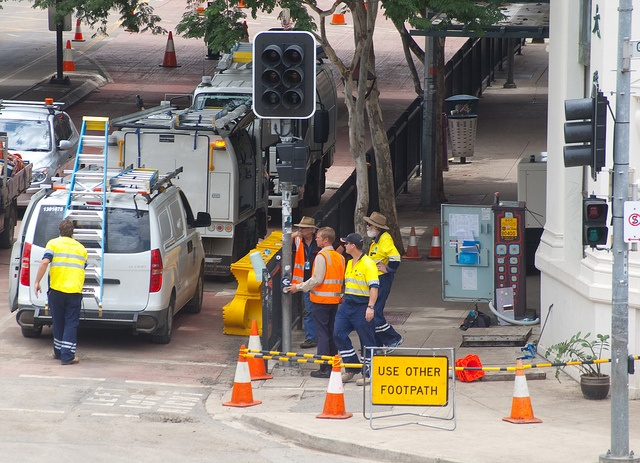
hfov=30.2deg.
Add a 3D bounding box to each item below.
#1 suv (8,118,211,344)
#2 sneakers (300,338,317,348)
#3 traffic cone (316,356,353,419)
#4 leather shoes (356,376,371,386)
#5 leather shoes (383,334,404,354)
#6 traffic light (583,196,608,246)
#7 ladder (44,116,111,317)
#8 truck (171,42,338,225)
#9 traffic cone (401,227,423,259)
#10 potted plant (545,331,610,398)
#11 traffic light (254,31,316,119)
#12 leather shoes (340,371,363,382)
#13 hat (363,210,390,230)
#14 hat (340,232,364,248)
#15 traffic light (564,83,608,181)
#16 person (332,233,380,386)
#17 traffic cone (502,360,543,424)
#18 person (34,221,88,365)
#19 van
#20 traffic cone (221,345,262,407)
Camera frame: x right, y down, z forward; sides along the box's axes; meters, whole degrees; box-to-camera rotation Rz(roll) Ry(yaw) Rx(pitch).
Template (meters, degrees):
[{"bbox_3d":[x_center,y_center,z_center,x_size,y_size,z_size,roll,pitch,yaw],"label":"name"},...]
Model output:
[{"bbox_3d":[-3.238,0.004,19.941,2.439,3.144,3.928,1,13,4],"label":"suv"},{"bbox_3d":[-0.189,1.795,19.031,0.106,0.121,0.298,-1,-6,35],"label":"sneakers"},{"bbox_3d":[0.178,2.057,15.856,0.470,0.875,0.260,0,7,8],"label":"traffic cone"},{"bbox_3d":[0.600,2.158,17.166,0.130,0.143,0.355,-1,-6,23],"label":"leather shoes"},{"bbox_3d":[1.073,1.674,17.687,0.171,0.388,0.140,43,-9,-12],"label":"leather shoes"},{"bbox_3d":[3.395,-0.124,14.677,0.298,0.626,0.268,1,7,13],"label":"traffic light"},{"bbox_3d":[-3.781,-0.717,18.732,0.605,3.710,0.867,-1,-21,-4],"label":"ladder"},{"bbox_3d":[-1.243,-2.424,26.927,2.556,2.690,4.790,0,14,7],"label":"truck"},{"bbox_3d":[2.002,0.224,24.684,0.541,0.747,0.548,-2,8,-14],"label":"traffic cone"},{"bbox_3d":[3.727,1.869,16.942,0.850,0.786,0.854,1,0,35],"label":"potted plant"},{"bbox_3d":[-0.503,-2.290,17.253,1.189,1.669,0.839,0,1,3],"label":"traffic light"},{"bbox_3d":[0.454,2.124,17.448,0.333,0.148,0.114,5,-1,-31],"label":"leather shoes"},{"bbox_3d":[0.866,-0.168,18.062,0.288,0.111,0.287,21,11,-35],"label":"hat"},{"bbox_3d":[0.464,0.126,17.289,0.265,0.161,0.189,11,7,7],"label":"hat"},{"bbox_3d":[3.281,-1.238,14.708,0.516,0.966,0.285,0,7,10],"label":"traffic light"},{"bbox_3d":[0.524,0.997,17.173,0.653,1.903,0.587,0,7,6],"label":"person"},{"bbox_3d":[2.655,2.104,15.658,0.460,0.808,0.336,-4,7,-19],"label":"traffic cone"},{"bbox_3d":[-3.840,0.904,17.926,0.554,2.124,0.742,1,7,19],"label":"person"},{"bbox_3d":[-2.428,-1.149,22.858,2.003,2.363,4.027,0,12,6],"label":"van"},{"bbox_3d":[-1.080,1.998,16.521,0.429,0.825,0.454,5,9,41],"label":"traffic cone"}]
